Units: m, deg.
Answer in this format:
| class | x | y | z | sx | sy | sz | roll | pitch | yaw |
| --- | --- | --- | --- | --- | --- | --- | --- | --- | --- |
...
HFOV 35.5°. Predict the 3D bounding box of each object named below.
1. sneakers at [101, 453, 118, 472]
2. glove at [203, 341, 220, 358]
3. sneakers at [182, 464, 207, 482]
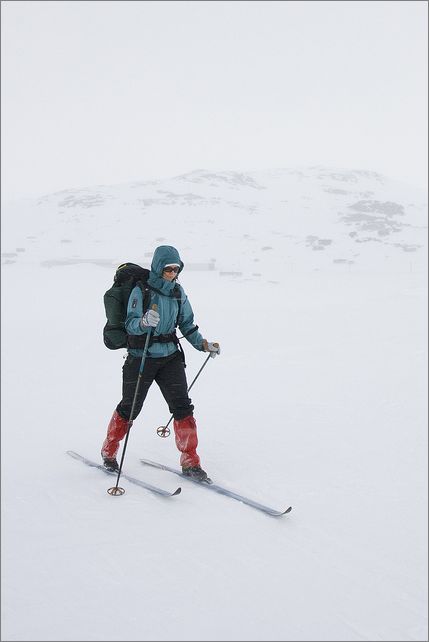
| class | x | y | z | sx | sy | sz | roll | pitch | yaw |
| --- | --- | --- | --- | --- | --- | --- | --- | --- | --- |
| sneakers | -0.828 | 1.148 | 5.344 | 0.074 | 0.081 | 0.205 | 12 | -4 | -41 |
| glove | -0.014 | 0.220 | 5.507 | 0.146 | 0.113 | 0.064 | 40 | -29 | 13 |
| sneakers | -0.143 | 1.176 | 5.141 | 0.238 | 0.107 | 0.080 | 0 | -5 | 40 |
